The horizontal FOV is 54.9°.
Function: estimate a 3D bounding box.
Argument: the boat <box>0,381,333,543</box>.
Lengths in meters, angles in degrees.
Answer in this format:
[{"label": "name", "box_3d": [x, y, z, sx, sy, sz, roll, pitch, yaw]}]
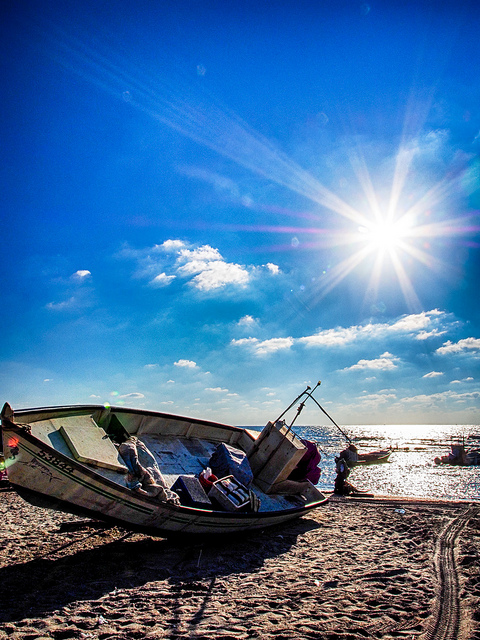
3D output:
[{"label": "boat", "box_3d": [-1.661, 3.267, 9.433, 6.310, 2.774, 2.799, 22, 16, -44]}]
